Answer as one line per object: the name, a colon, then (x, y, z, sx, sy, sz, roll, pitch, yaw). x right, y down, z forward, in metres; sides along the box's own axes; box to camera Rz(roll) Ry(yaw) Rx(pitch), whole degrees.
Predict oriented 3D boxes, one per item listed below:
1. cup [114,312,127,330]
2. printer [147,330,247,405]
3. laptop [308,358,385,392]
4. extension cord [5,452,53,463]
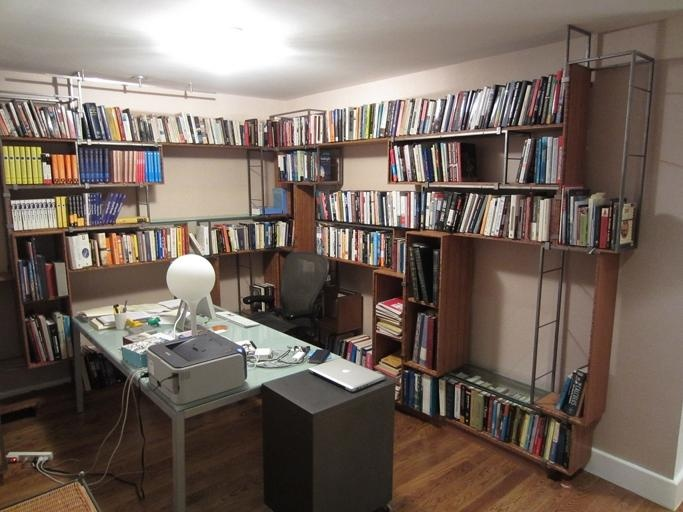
cup: (-1.768, 0.516, 4.075, 0.124, 0.131, 0.107, -1, 7, -27)
printer: (-0.942, 0.713, 3.324, 0.512, 0.240, 0.534, -7, 13, -37)
laptop: (0.027, 0.794, 3.421, 0.420, 0.038, 0.541, 16, 4, 24)
extension cord: (-2.484, 1.601, 4.051, 0.165, 0.037, 0.152, 1, 3, -4)
